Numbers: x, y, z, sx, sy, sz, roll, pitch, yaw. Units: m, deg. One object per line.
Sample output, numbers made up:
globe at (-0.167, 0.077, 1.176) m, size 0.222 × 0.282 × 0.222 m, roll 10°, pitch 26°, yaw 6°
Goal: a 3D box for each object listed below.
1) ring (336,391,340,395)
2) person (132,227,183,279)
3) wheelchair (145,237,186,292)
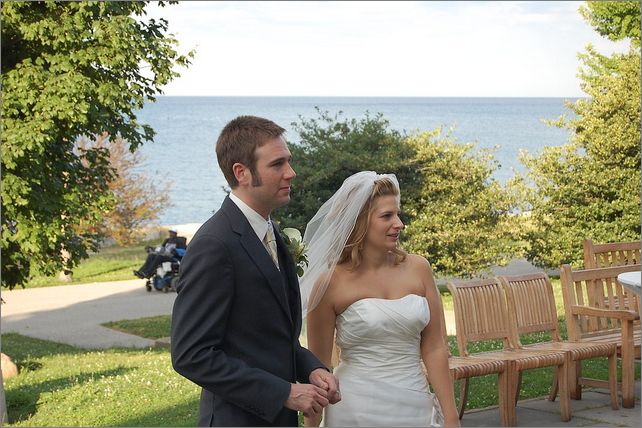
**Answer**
ring at (0.228, 2.399, 11.179) m, size 0.039 × 0.038 × 0.038 m, roll 1°, pitch 7°, yaw 0°
person at (-4.958, 1.190, 25.442) m, size 1.556 × 1.640 × 0.955 m, roll 5°, pitch 1°, yaw -42°
wheelchair at (-4.758, 1.630, 25.767) m, size 1.197 × 1.607 × 1.232 m, roll -4°, pitch -8°, yaw 42°
